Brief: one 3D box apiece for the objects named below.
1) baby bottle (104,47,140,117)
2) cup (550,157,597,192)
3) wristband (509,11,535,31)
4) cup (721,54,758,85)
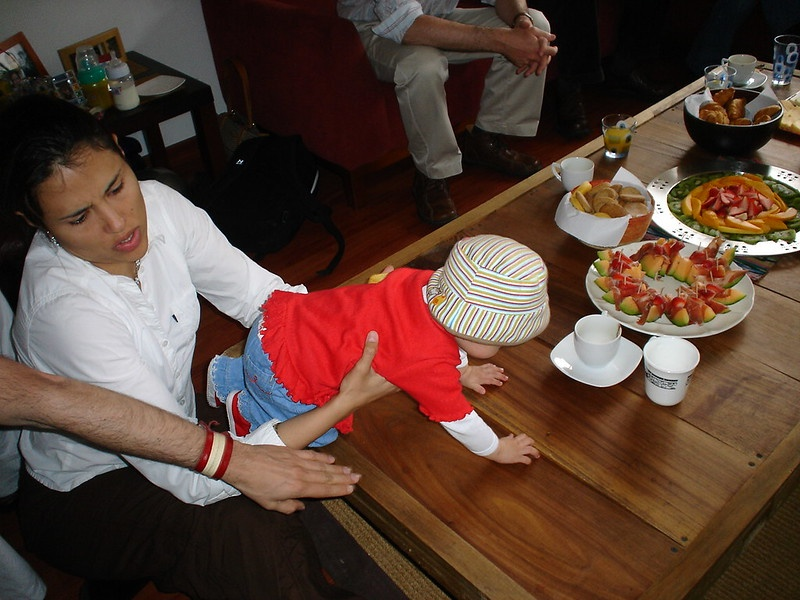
[{"bbox_3d":[-1.287,-0.994,2.478,0.121,0.166,0.227,-15,49,-5],"label":"baby bottle"},{"bbox_3d":[0.546,-0.405,1.720,0.138,0.111,0.111,0,47,13],"label":"cup"},{"bbox_3d":[0.536,-1.200,2.364,0.104,0.060,0.199,2,50,10],"label":"wristband"},{"bbox_3d":[1.278,-0.858,2.054,0.135,0.107,0.112,22,61,38],"label":"cup"}]
